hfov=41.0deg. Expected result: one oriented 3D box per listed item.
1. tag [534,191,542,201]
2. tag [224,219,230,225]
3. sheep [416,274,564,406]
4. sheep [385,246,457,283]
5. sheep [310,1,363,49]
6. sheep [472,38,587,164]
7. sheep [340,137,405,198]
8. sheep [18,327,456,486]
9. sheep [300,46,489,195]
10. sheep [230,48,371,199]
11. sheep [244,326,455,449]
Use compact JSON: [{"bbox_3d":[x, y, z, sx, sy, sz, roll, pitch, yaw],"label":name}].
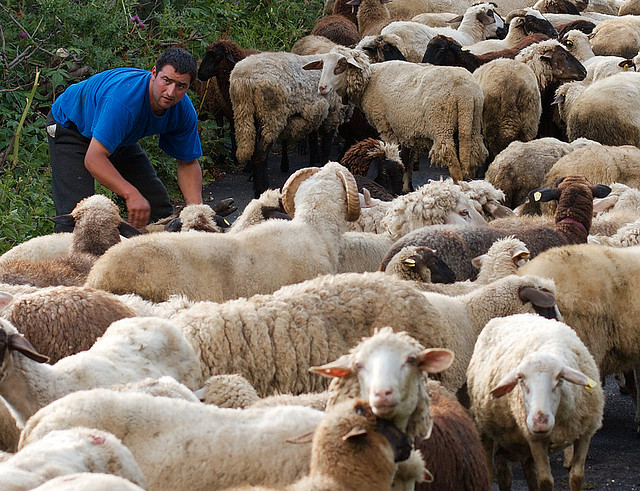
[{"bbox_3d":[2.003,-0.461,7.916,0.091,0.012,0.110,-10,45,21],"label":"tag"},{"bbox_3d":[-0.823,-0.208,7.552,0.017,0.062,0.009,-35,-9,-27],"label":"tag"},{"bbox_3d":[0.978,0.726,6.102,1.501,0.972,0.751,1,-4,-16],"label":"sheep"},{"bbox_3d":[0.764,0.182,6.535,0.360,0.240,0.336,36,1,-10],"label":"sheep"},{"bbox_3d":[0.432,-4.619,18.536,0.885,1.111,2.145,6,27,8],"label":"sheep"},{"bbox_3d":[2.891,-2.166,12.476,0.809,1.334,2.148,-20,11,-39],"label":"sheep"},{"bbox_3d":[0.616,-0.916,10.472,0.770,0.748,0.638,6,3,19],"label":"sheep"},{"bbox_3d":[-0.349,0.787,4.159,2.006,0.584,0.550,-3,24,-5],"label":"sheep"},{"bbox_3d":[1.192,-1.843,12.418,0.968,1.848,3.079,-15,22,-40],"label":"sheep"},{"bbox_3d":[-0.284,-2.006,13.291,1.147,1.918,2.863,7,17,37],"label":"sheep"},{"bbox_3d":[0.367,0.632,4.473,0.577,0.557,1.100,-1,4,24],"label":"sheep"}]
